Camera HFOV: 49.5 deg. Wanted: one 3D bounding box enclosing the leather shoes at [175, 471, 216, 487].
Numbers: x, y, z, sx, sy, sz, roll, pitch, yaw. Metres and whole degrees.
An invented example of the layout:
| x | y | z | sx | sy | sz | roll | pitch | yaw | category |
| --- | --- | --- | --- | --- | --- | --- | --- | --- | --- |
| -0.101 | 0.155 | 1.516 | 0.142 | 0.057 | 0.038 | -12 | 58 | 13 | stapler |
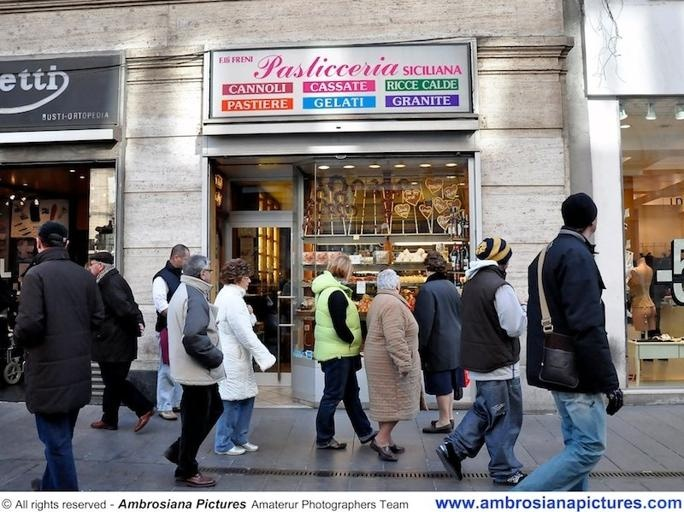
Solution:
| x | y | z | sx | sy | sz | roll | pitch | yaw | category |
| --- | --- | --- | --- | --- | --- | --- | --- | --- | --- |
| -1.436 | 2.233 | 7.386 | 0.331 | 0.126 | 0.156 | -1 | -3 | 3 | leather shoes |

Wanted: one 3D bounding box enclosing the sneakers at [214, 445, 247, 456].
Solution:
| x | y | z | sx | sy | sz | roll | pitch | yaw | category |
| --- | --- | --- | --- | --- | --- | --- | --- | --- | --- |
| -1.208 | 2.098 | 8.017 | 0.317 | 0.113 | 0.111 | 0 | 0 | -5 | sneakers |

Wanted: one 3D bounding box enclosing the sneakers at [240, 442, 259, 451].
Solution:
| x | y | z | sx | sy | sz | roll | pitch | yaw | category |
| --- | --- | --- | --- | --- | --- | --- | --- | --- | --- |
| -1.014 | 2.106 | 8.150 | 0.176 | 0.058 | 0.081 | 3 | 2 | 3 | sneakers |

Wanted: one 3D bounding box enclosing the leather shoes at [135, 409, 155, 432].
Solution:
| x | y | z | sx | sy | sz | roll | pitch | yaw | category |
| --- | --- | --- | --- | --- | --- | --- | --- | --- | --- |
| -2.327 | 1.932 | 8.858 | 0.191 | 0.269 | 0.391 | 0 | 7 | 1 | leather shoes |

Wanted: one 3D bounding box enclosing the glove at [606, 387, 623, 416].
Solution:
| x | y | z | sx | sy | sz | roll | pitch | yaw | category |
| --- | --- | --- | --- | --- | --- | --- | --- | --- | --- |
| 2.327 | 1.250 | 6.318 | 0.114 | 0.280 | 0.219 | 3 | -11 | 30 | glove |

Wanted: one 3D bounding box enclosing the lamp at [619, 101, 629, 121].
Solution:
| x | y | z | sx | sy | sz | roll | pitch | yaw | category |
| --- | --- | --- | --- | --- | --- | --- | --- | --- | --- |
| 3.777 | -1.942 | 9.963 | 0.173 | 0.249 | 0.044 | -5 | 8 | -37 | lamp |

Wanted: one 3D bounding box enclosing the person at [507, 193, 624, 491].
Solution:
| x | y | z | sx | sy | sz | roll | pitch | yaw | category |
| --- | --- | --- | --- | --- | --- | --- | --- | --- | --- |
| 1.982 | 0.787 | 6.488 | 0.870 | 2.634 | 0.641 | 1 | 6 | 12 | person |

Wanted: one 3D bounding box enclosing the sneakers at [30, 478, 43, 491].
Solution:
| x | y | z | sx | sy | sz | roll | pitch | yaw | category |
| --- | --- | --- | --- | --- | --- | --- | --- | --- | --- |
| -2.937 | 2.203 | 7.140 | 0.093 | 0.040 | 0.116 | 2 | 20 | -21 | sneakers |

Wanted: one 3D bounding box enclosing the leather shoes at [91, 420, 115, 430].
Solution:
| x | y | z | sx | sy | sz | roll | pitch | yaw | category |
| --- | --- | --- | --- | --- | --- | --- | --- | --- | --- |
| -2.839 | 2.041 | 8.895 | 0.314 | 0.118 | 0.110 | 6 | -4 | 0 | leather shoes |

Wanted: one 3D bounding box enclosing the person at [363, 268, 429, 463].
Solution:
| x | y | z | sx | sy | sz | roll | pitch | yaw | category |
| --- | --- | --- | --- | --- | --- | --- | --- | --- | --- |
| 0.526 | 0.960 | 7.744 | 0.601 | 1.581 | 0.401 | 0 | 6 | 5 | person |

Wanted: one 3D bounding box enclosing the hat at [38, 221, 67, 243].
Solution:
| x | y | z | sx | sy | sz | roll | pitch | yaw | category |
| --- | --- | --- | --- | --- | --- | --- | --- | --- | --- |
| -2.776 | -0.240 | 7.148 | 0.192 | 0.134 | 0.247 | -4 | 17 | -36 | hat |

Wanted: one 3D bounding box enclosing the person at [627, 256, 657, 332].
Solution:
| x | y | z | sx | sy | sz | roll | pitch | yaw | category |
| --- | --- | --- | --- | --- | --- | --- | --- | --- | --- |
| 4.027 | 0.515 | 9.911 | 0.437 | 1.040 | 0.176 | -3 | 6 | -20 | person |

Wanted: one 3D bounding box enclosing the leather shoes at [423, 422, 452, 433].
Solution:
| x | y | z | sx | sy | sz | roll | pitch | yaw | category |
| --- | --- | --- | --- | --- | --- | --- | --- | --- | --- |
| 1.122 | 2.029 | 8.689 | 0.356 | 0.116 | 0.122 | 3 | -7 | 5 | leather shoes |

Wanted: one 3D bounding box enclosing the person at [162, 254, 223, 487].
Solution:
| x | y | z | sx | sy | sz | roll | pitch | yaw | category |
| --- | --- | --- | --- | --- | --- | --- | --- | --- | --- |
| -1.470 | 1.143 | 7.324 | 0.603 | 2.263 | 0.416 | -2 | 6 | -11 | person |

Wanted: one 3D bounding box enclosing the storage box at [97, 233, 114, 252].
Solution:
| x | y | z | sx | sy | sz | roll | pitch | yaw | category |
| --- | --- | --- | --- | --- | --- | --- | --- | --- | --- |
| -3.253 | -0.186 | 10.234 | 0.273 | 0.234 | 0.121 | 0 | -4 | 5 | storage box |

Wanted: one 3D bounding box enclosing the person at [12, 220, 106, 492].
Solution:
| x | y | z | sx | sy | sz | roll | pitch | yaw | category |
| --- | --- | --- | --- | --- | --- | --- | --- | --- | --- |
| -2.677 | 0.968 | 7.060 | 0.601 | 2.541 | 0.664 | 1 | 6 | 8 | person |

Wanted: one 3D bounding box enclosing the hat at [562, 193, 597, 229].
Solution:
| x | y | z | sx | sy | sz | roll | pitch | yaw | category |
| --- | --- | --- | --- | --- | --- | --- | --- | --- | --- |
| 2.138 | -0.422 | 6.675 | 0.322 | 0.279 | 0.328 | 4 | 32 | 31 | hat |

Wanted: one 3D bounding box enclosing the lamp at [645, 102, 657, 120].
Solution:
| x | y | z | sx | sy | sz | roll | pitch | yaw | category |
| --- | --- | --- | --- | --- | --- | --- | --- | --- | --- |
| 4.199 | -1.958 | 10.053 | 0.181 | 0.244 | 0.077 | -4 | 7 | -29 | lamp |

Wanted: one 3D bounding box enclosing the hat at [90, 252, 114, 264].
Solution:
| x | y | z | sx | sy | sz | roll | pitch | yaw | category |
| --- | --- | --- | --- | --- | --- | --- | --- | --- | --- |
| -2.920 | 0.024 | 8.874 | 0.322 | 0.154 | 0.241 | 2 | 2 | 23 | hat |

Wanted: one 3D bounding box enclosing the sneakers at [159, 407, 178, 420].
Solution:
| x | y | z | sx | sy | sz | roll | pitch | yaw | category |
| --- | --- | --- | --- | --- | --- | --- | --- | --- | --- |
| -2.144 | 1.980 | 9.231 | 0.111 | 0.095 | 0.237 | 5 | -7 | -43 | sneakers |

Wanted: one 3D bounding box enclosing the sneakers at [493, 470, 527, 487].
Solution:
| x | y | z | sx | sy | sz | roll | pitch | yaw | category |
| --- | --- | --- | --- | --- | --- | --- | --- | --- | --- |
| 1.619 | 2.198 | 7.338 | 0.396 | 0.155 | 0.146 | -5 | 8 | 5 | sneakers |

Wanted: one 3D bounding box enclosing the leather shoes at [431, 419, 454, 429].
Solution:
| x | y | z | sx | sy | sz | roll | pitch | yaw | category |
| --- | --- | --- | --- | --- | --- | --- | --- | --- | --- |
| 1.197 | 1.981 | 8.704 | 0.298 | 0.105 | 0.101 | 4 | -1 | 9 | leather shoes |

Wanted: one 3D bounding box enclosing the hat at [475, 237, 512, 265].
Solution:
| x | y | z | sx | sy | sz | roll | pitch | yaw | category |
| --- | --- | --- | --- | --- | --- | --- | --- | --- | --- |
| 1.518 | -0.047 | 7.568 | 0.329 | 0.246 | 0.253 | -13 | 24 | -23 | hat |
